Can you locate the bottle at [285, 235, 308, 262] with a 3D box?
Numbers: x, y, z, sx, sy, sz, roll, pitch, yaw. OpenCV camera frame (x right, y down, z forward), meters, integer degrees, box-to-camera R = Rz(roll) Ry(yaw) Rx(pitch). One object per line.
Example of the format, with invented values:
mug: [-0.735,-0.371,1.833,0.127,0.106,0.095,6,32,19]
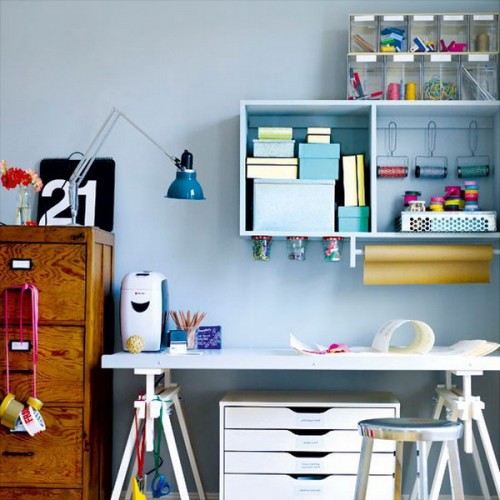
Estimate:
bottle: [0.229,-0.015,4.295,0.094,0.120,0.105,2,-2,6]

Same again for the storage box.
storage box: [0.278,-0.346,4.317,0.604,0.536,0.303,0,2,5]

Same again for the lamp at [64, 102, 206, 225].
lamp: [-0.552,-0.427,4.329,0.681,0.588,0.541,-1,3,-10]

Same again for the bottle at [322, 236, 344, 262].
bottle: [0.396,-0.009,4.269,0.101,0.130,0.109,1,-2,0]
